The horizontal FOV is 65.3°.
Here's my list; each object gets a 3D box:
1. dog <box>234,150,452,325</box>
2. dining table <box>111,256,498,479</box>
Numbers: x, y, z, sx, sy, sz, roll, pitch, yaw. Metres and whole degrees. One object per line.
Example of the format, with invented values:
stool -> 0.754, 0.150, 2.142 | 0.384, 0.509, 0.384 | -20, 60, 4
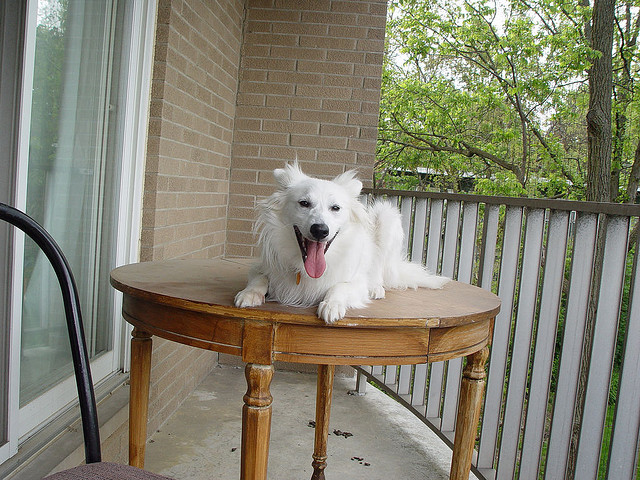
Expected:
dog -> 0.071, -0.015, 2.046 | 0.610, 0.527, 1.022 | 3, 5, 32
dining table -> -0.075, 0.546, 2.037 | 1.539, 0.764, 0.810 | 5, 10, 11
